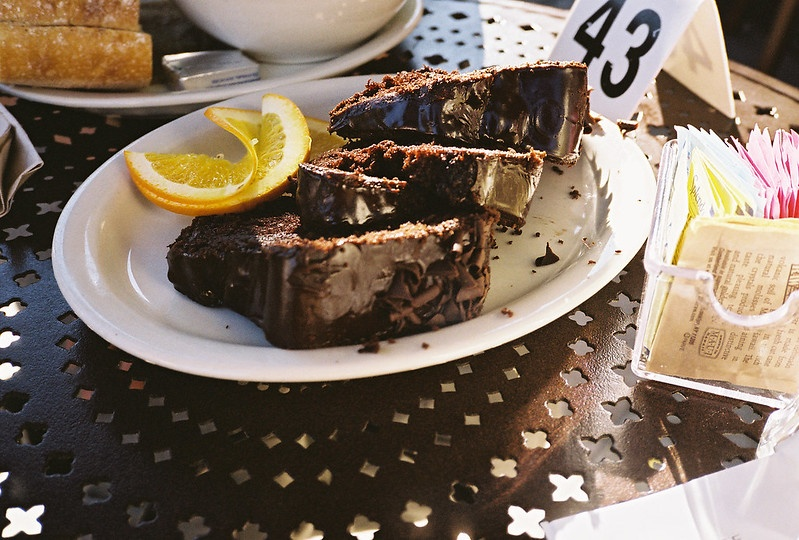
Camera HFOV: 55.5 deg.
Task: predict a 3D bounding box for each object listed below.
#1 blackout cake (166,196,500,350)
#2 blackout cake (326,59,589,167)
[{"bbox_3d":[-0.112,0.012,1.288,0.382,0.103,0.287,0,22,0],"label":"blackout cake"},{"bbox_3d":[0.128,-0.327,1.574,0.535,0.215,0.295,2,4,4],"label":"blackout cake"}]
